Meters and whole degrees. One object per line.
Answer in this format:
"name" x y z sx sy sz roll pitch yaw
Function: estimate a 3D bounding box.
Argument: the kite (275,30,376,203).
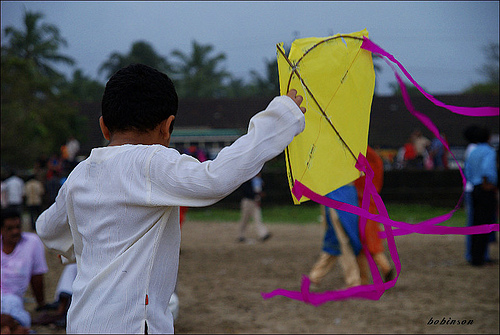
"kite" 1.153 -0.759 12.091 1.217 2.219 0.594 -3 12 -3

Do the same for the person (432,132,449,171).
"person" 4.218 -0.313 20.091 0.300 0.281 0.931 16 33 4

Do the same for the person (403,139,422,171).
"person" 4.567 -0.530 24.932 0.523 0.610 1.767 -3 -18 11
